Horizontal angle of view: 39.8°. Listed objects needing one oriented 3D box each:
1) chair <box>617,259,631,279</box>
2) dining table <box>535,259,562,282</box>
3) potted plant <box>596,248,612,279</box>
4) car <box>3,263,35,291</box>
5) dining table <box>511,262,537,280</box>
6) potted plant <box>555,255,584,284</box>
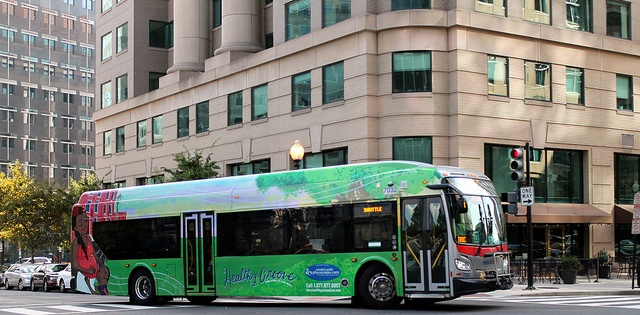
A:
[{"bbox_3d":[26.150,9.336,75.731,1.151,1.779,2.825,3,9,19],"label":"chair"},{"bbox_3d":[18.538,9.363,72.600,1.816,1.789,1.632,1,-12,-15],"label":"dining table"},{"bbox_3d":[23.670,9.059,73.913,1.762,2.272,0.800,-8,13,-36],"label":"potted plant"},{"bbox_3d":[-28.163,11.264,82.995,4.679,2.709,1.222,6,12,36],"label":"car"},{"bbox_3d":[16.297,9.049,70.841,2.004,1.651,1.021,1,-14,-3],"label":"dining table"},{"bbox_3d":[20.375,9.091,71.803,2.336,2.329,2.050,5,-5,-27],"label":"potted plant"}]
